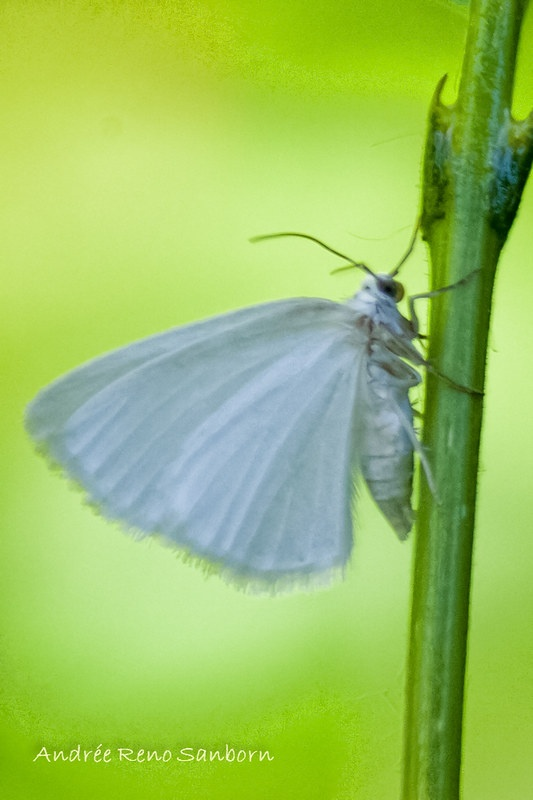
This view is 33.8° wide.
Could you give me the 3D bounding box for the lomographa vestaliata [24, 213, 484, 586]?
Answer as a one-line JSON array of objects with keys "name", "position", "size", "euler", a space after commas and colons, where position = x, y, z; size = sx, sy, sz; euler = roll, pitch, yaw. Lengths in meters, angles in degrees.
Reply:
[{"name": "lomographa vestaliata", "position": [-0.011, 0.040, 0.862], "size": [0.234, 0.309, 0.466], "euler": [17, -1, -38]}]
